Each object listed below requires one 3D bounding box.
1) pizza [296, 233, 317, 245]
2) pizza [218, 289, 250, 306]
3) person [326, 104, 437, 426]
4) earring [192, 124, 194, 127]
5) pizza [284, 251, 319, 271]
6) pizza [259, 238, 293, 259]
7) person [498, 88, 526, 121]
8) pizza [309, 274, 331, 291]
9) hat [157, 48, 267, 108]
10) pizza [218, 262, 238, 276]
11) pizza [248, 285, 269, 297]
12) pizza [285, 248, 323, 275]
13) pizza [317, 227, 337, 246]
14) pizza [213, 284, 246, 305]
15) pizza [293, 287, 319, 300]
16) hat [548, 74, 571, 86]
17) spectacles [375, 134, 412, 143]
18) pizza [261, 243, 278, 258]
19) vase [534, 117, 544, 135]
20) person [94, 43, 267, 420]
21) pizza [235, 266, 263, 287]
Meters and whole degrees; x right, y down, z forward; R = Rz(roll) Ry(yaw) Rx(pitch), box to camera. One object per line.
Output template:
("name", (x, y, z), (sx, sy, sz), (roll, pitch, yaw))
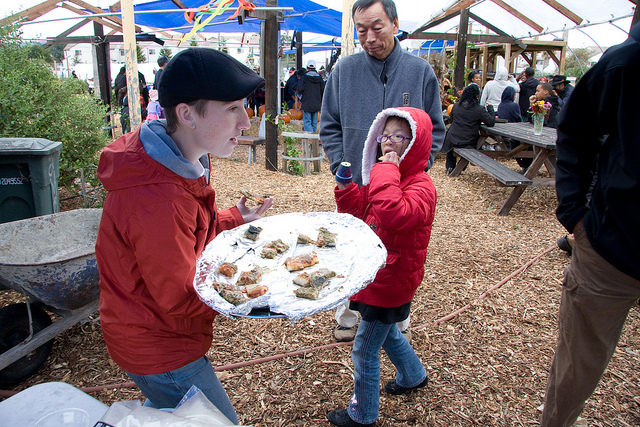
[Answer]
("pizza", (-0.095, 0.168, 2.896), (0.070, 0.019, 0.073), (26, -2, 24))
("pizza", (-0.465, 0.440, 2.400), (0.107, 0.031, 0.072), (22, 22, 20))
("person", (0.523, 0.462, 3.614), (0.750, 2.558, 0.879), (9, 17, 24))
("earring", (-0.732, -0.507, 2.597), (0.007, 0.015, 0.006), (-3, 16, -18))
("pizza", (-0.115, 0.294, 2.746), (0.139, 0.039, 0.121), (-13, 19, -13))
("pizza", (-0.279, 0.212, 2.852), (0.158, 0.042, 0.113), (-20, 48, -39))
("person", (5.237, -2.991, 12.297), (0.614, 0.862, 1.684), (8, 16, 20))
("pizza", (0.001, 0.395, 2.539), (0.086, 0.025, 0.082), (35, 46, -2))
("hat", (-0.644, -0.823, 2.670), (0.646, 0.327, 0.422), (-4, 20, 14))
("pizza", (-0.537, 0.320, 2.638), (0.078, 0.039, 0.077), (12, 18, 0))
("pizza", (-0.339, 0.444, 2.559), (0.055, 0.033, 0.168), (11, 17, 28))
("pizza", (-0.098, 0.290, 2.751), (0.166, 0.043, 0.138), (-14, 28, -12))
("pizza", (0.049, 0.155, 2.877), (0.106, 0.032, 0.108), (11, 53, -4))
("pizza", (-0.466, 0.426, 2.416), (0.093, 0.035, 0.146), (25, -2, -44))
("pizza", (-0.074, 0.444, 2.508), (0.101, 0.033, 0.062), (2, 9, 23))
("hat", (6.239, -3.441, 11.629), (0.316, 0.288, 0.907), (13, 18, 35))
("spectacles", (0.538, -0.573, 3.442), (0.308, 0.075, 0.115), (14, 19, 37))
("pizza", (-0.317, 0.237, 2.828), (0.084, 0.075, 0.078), (7, 16, 18))
("vase", (4.370, -1.748, 8.960), (0.140, 0.329, 0.348), (10, 17, 27))
("person", (-0.841, 0.186, 2.681), (0.902, 2.276, 0.731), (-6, 18, -28))
("pizza", (-0.409, 0.375, 2.638), (0.185, 0.067, 0.079), (-11, 20, -41))
